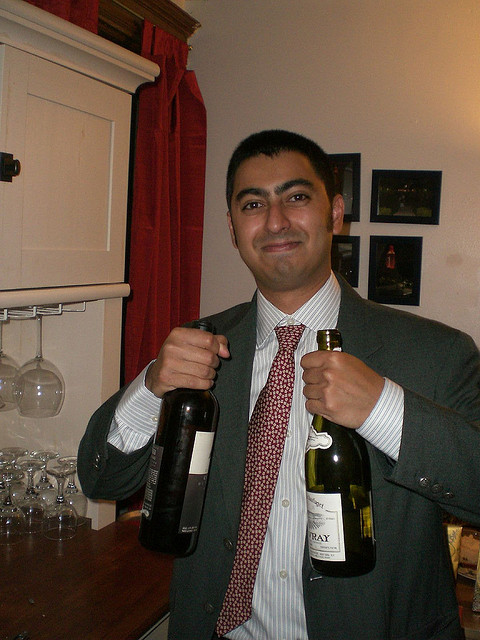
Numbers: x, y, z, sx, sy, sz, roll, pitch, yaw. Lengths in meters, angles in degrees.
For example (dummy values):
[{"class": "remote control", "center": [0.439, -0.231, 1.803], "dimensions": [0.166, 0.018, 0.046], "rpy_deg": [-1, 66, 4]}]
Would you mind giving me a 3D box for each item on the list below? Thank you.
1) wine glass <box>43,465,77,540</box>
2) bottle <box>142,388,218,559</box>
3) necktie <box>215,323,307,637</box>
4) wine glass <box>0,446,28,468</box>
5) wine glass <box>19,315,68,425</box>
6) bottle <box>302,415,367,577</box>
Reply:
[{"class": "wine glass", "center": [-0.518, 0.524, 1.503], "dimensions": [0.096, 0.168, 0.108], "rpy_deg": [3, 1, -9]}, {"class": "bottle", "center": [-0.087, 0.221, 0.743], "dimensions": [0.094, 0.210, 0.100], "rpy_deg": [3, 1, 0]}, {"class": "necktie", "center": [0.034, 0.253, 0.840], "dimensions": [0.107, 0.473, 0.132], "rpy_deg": [3, 9, 9]}, {"class": "wine glass", "center": [-0.673, 0.404, 1.541], "dimensions": [0.049, 0.060, 0.053], "rpy_deg": [5, 5, 44]}, {"class": "wine glass", "center": [-0.566, 0.160, 1.504], "dimensions": [0.120, 0.255, 0.318], "rpy_deg": [3, 1, -18]}, {"class": "bottle", "center": [0.129, 0.239, 0.705], "dimensions": [0.089, 0.210, 0.184], "rpy_deg": [3, 1, 7]}]
